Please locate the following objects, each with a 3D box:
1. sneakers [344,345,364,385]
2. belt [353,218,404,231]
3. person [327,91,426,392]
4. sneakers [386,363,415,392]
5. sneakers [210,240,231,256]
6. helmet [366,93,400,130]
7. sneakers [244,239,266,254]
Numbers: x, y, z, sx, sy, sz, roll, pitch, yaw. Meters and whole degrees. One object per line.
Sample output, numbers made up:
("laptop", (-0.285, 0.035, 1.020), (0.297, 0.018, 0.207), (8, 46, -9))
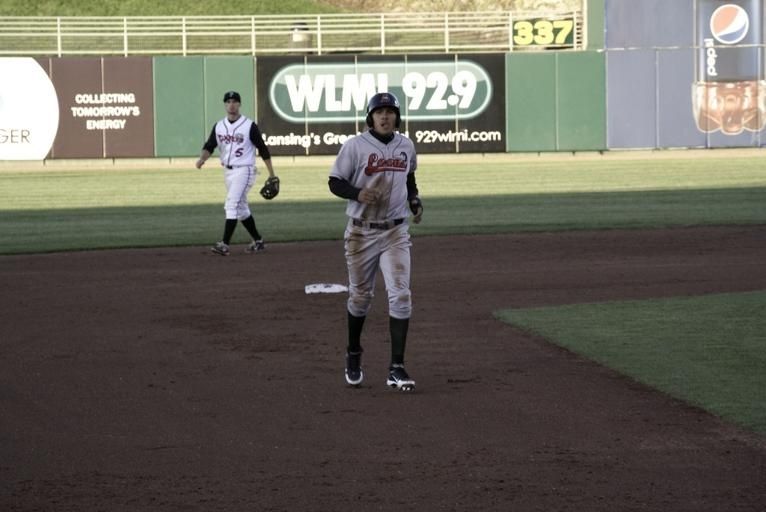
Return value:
("sneakers", (-0.344, 1.321, 13.830), (0.170, 0.504, 0.215), (-1, -7, -4))
("belt", (-0.060, -0.382, 13.814), (0.625, 0.133, 0.145), (-1, 10, 0))
("person", (-0.072, -0.197, 13.791), (1.024, 3.437, 0.825), (-1, 10, 2))
("sneakers", (0.219, 1.424, 13.713), (0.346, 0.292, 0.262), (-1, 10, -1))
("sneakers", (-2.713, -0.133, 19.258), (0.436, 0.211, 0.160), (11, 10, 25))
("helmet", (0.005, -1.726, 13.764), (0.398, 0.358, 0.426), (-1, -1, -7))
("sneakers", (-2.233, -0.179, 19.875), (0.405, 0.195, 0.150), (-4, 16, 21))
